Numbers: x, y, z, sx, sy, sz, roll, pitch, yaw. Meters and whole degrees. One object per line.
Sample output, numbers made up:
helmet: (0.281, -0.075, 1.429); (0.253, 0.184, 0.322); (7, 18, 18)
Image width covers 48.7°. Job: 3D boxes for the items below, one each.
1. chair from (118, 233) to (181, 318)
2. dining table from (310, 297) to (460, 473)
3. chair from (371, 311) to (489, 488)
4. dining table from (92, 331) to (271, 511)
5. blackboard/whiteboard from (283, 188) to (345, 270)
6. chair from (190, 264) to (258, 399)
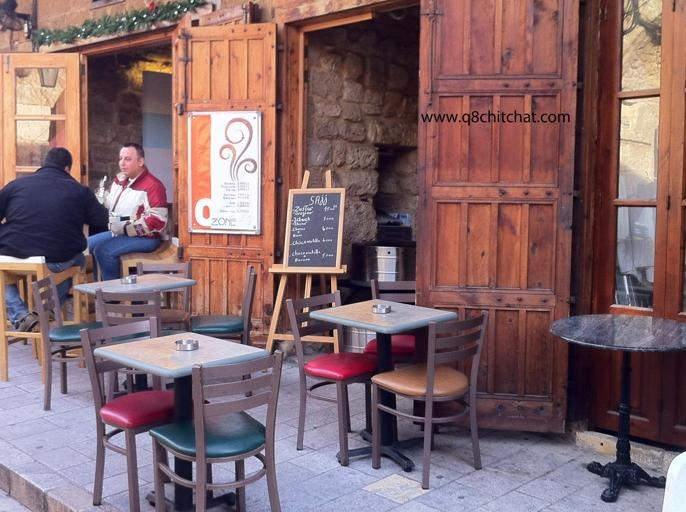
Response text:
chair: (-1.863, 0.061, 7.496); (0.627, 0.827, 0.510); (3, -2, -38)
dining table: (0.260, 0.888, 5.592); (1.104, 1.243, 1.083); (-1, 2, -37)
chair: (0.636, 0.901, 5.201); (0.690, 1.084, 0.895); (2, 4, 28)
dining table: (-0.951, 1.029, 4.746); (1.034, 1.168, 1.035); (3, 4, 39)
blackboard/whiteboard: (-0.267, -0.239, 6.939); (0.763, 0.941, 0.077); (2, -11, 13)
chair: (-0.928, 0.490, 6.283); (0.658, 1.000, 0.593); (3, 3, -14)
